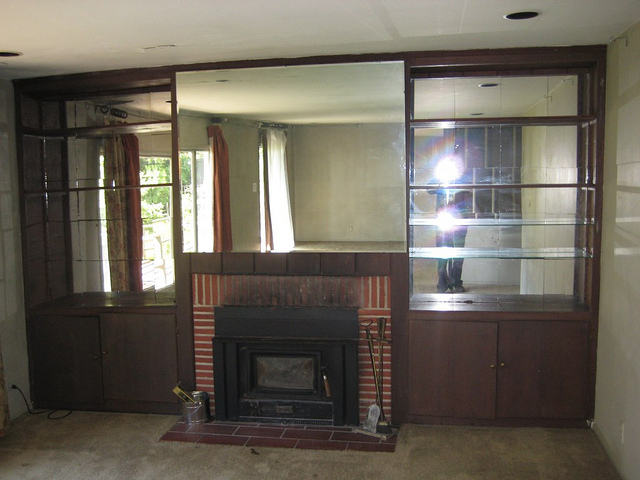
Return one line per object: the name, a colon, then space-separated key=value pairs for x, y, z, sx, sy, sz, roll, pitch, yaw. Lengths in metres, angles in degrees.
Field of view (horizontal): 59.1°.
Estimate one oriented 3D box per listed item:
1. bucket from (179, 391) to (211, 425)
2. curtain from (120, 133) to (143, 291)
bucket: x=-0.987 y=1.336 z=4.445 sx=0.231 sy=0.201 sz=0.230 roll=0 pitch=2 yaw=0
curtain: x=-1.535 y=-0.219 z=4.621 sx=0.187 sy=1.292 sz=0.054 roll=1 pitch=6 yaw=19
